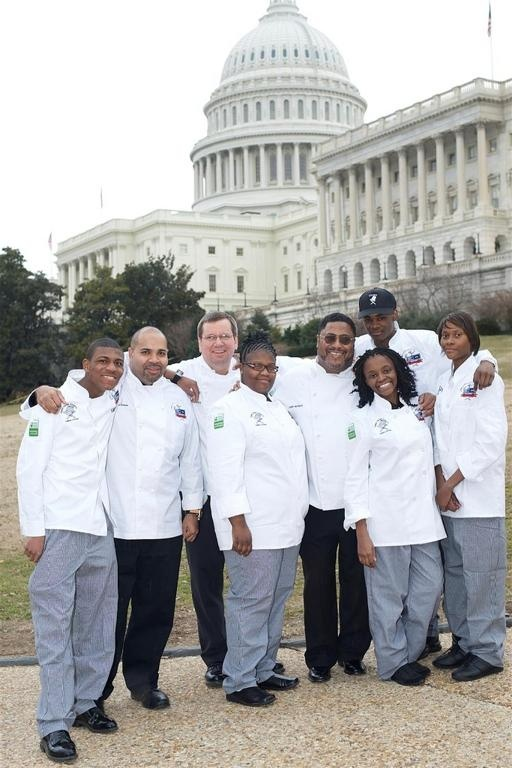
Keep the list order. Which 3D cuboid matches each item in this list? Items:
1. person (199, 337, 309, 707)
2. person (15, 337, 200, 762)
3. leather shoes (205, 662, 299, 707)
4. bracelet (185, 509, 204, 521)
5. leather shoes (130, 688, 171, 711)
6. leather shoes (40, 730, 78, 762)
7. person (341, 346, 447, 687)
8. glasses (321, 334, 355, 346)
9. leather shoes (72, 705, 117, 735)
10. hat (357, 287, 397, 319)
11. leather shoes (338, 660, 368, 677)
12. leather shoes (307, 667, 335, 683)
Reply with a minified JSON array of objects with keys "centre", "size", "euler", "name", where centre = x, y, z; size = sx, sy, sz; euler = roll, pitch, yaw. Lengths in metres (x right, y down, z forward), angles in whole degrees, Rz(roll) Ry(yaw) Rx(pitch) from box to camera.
[{"centre":[-0.009,0.717,6.223],"size":[0.467,2.065,0.728],"euler":[-4,0,20],"name":"person"},{"centre":[-0.955,0.771,5.727],"size":[0.538,2.203,1.021],"euler":[-4,0,5],"name":"person"},{"centre":[-0.053,1.640,6.025],"size":[0.295,0.096,0.223],"euler":[-9,-2,24],"name":"leather shoes"},{"centre":[-0.356,0.764,6.483],"size":[0.106,0.050,0.082],"euler":[1,0,-13],"name":"bracelet"},{"centre":[-0.568,1.720,5.993],"size":[0.087,0.084,0.243],"euler":[3,-12,-31],"name":"leather shoes"},{"centre":[-0.932,1.723,5.250],"size":[0.138,0.143,0.217],"euler":[-4,0,-22],"name":"leather shoes"},{"centre":[0.782,0.734,6.424],"size":[0.495,1.911,0.629],"euler":[-4,0,25],"name":"person"},{"centre":[0.492,-0.259,6.572],"size":[0.195,0.077,0.127],"euler":[-4,0,-5],"name":"glasses"},{"centre":[-0.824,1.722,5.689],"size":[0.170,0.137,0.319],"euler":[-4,0,-28],"name":"leather shoes"},{"centre":[0.751,-0.500,6.877],"size":[0.168,0.126,0.223],"euler":[-2,7,22],"name":"hat"},{"centre":[0.586,1.673,6.479],"size":[0.064,0.059,0.145],"euler":[2,-10,-19],"name":"leather shoes"},{"centre":[0.367,1.670,6.363],"size":[0.135,0.082,0.215],"euler":[-4,0,2],"name":"leather shoes"}]
